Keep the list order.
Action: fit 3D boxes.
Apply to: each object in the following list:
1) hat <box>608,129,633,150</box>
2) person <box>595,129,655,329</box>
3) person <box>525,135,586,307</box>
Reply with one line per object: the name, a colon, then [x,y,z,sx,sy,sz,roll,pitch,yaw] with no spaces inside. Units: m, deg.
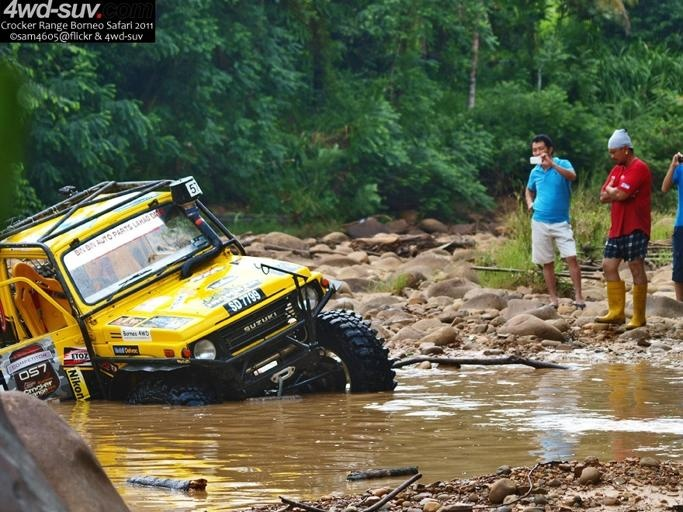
hat: [3.653,-1.532,15.726,0.381,0.284,0.252,-9,5,0]
person: [3.677,-0.354,15.667,0.805,2.569,0.716,-6,7,3]
person: [3.043,-0.500,17.192,0.694,2.471,0.861,-5,7,8]
